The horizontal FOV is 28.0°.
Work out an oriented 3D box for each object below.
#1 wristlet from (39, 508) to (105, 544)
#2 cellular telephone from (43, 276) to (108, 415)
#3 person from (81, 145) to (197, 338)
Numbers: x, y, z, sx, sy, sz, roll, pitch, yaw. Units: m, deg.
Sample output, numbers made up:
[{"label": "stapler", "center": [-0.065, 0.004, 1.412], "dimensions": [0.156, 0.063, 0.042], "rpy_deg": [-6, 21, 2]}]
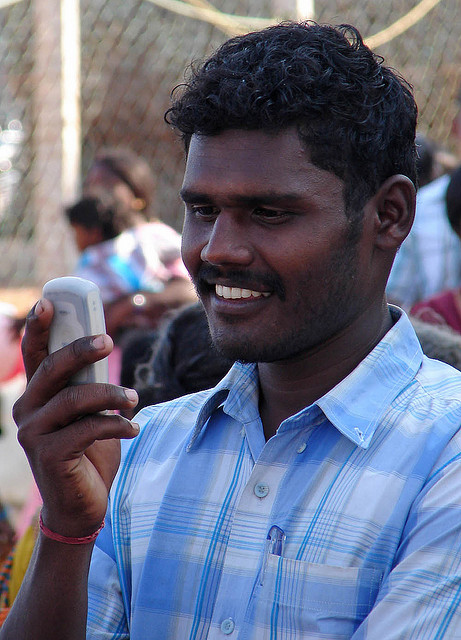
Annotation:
[{"label": "wristlet", "center": [-0.335, 0.437, 1.899], "dimensions": [0.112, 0.047, 0.038], "rpy_deg": [-1, 14, 3]}, {"label": "cellular telephone", "center": [-0.310, 0.055, 1.869], "dimensions": [0.118, 0.268, 0.153], "rpy_deg": [-5, 15, -11]}, {"label": "person", "center": [-0.437, -0.336, 4.132], "dimensions": [0.488, 0.676, 0.889], "rpy_deg": [-1, 51, -18]}]
